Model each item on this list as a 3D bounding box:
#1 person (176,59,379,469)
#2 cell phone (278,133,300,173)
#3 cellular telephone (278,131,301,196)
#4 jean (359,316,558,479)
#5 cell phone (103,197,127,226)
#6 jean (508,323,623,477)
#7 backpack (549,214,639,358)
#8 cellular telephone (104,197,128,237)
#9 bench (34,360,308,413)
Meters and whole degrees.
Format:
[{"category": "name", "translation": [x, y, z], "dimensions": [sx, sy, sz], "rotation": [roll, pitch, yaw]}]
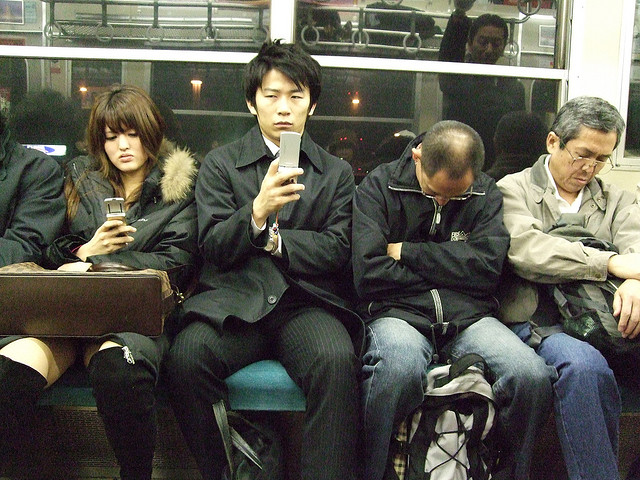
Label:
[{"category": "person", "translation": [-0.207, 0.041, 3.089], "dimensions": [1.000, 1.836, 0.912], "rotation": [3, 9, 5]}, {"category": "cell phone", "translation": [-0.141, -0.388, 2.947], "dimensions": [0.096, 0.216, 0.022], "rotation": [4, -2, 12]}, {"category": "cellular telephone", "translation": [-0.147, -0.405, 2.968], "dimensions": [0.094, 0.184, 0.099], "rotation": [1, 10, -7]}, {"category": "jean", "translation": [0.613, 0.585, 3.135], "dimensions": [0.966, 1.064, 0.669], "rotation": [2, 1, 4]}, {"category": "cell phone", "translation": [-0.970, -0.134, 3.029], "dimensions": [0.086, 0.137, 0.129], "rotation": [-2, 11, -21]}, {"category": "jean", "translation": [1.195, 0.689, 3.007], "dimensions": [0.261, 0.727, 0.207], "rotation": [-18, -13, 11]}, {"category": "backpack", "translation": [1.313, 0.206, 3.112], "dimensions": [0.436, 0.589, 0.190], "rotation": [-7, -2, -29]}, {"category": "cellular telephone", "translation": [-0.970, -0.131, 3.032], "dimensions": [0.088, 0.031, 0.219], "rotation": [-5, -31, -15]}, {"category": "bench", "translation": [-0.643, 0.673, 2.995], "dimensions": [1.138, 0.204, 0.135], "rotation": [2, 10, -4]}]
